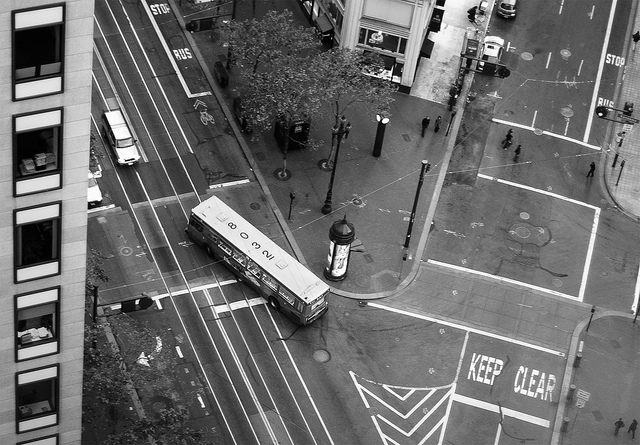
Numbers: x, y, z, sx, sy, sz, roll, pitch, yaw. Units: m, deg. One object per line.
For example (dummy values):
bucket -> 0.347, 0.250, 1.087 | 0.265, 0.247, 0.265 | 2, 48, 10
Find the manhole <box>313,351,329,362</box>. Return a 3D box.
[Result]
manhole -> 0.075, 12.854, 140.818 | 1.515, 0.159, 1.188 | -1, 56, 0

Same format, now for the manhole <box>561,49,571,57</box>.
manhole -> 28.978, -19.722, 171.044 | 1.093, 0.181, 1.261 | -4, 56, -2

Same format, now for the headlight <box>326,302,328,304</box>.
headlight -> 0.623, 7.800, 142.749 | 0.332, 0.302, 0.063 | -12, 111, -12

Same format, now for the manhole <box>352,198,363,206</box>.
manhole -> 3.936, -2.138, 152.884 | 1.055, 0.134, 0.994 | 0, 56, 0

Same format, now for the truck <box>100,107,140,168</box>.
truck -> -21.451, -8.660, 153.911 | 3.310, 2.641, 6.784 | -22, 72, -29

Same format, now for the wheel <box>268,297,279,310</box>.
wheel -> -4.547, 7.899, 143.086 | 0.248, 0.971, 1.047 | -19, 105, -34

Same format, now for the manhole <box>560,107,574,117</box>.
manhole -> 27.954, -12.385, 164.531 | 1.491, 0.230, 1.344 | -3, 56, -2

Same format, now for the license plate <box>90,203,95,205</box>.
license plate -> -23.369, -1.888, 148.692 | 0.335, 0.074, 0.212 | 7, 93, -7

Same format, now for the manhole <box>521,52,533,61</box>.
manhole -> 24.301, -19.306, 170.300 | 1.361, 0.216, 1.175 | -4, 56, -3

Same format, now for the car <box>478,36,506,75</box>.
car -> 20.191, -19.248, 168.348 | 3.839, 2.541, 4.391 | 11, 97, 2
